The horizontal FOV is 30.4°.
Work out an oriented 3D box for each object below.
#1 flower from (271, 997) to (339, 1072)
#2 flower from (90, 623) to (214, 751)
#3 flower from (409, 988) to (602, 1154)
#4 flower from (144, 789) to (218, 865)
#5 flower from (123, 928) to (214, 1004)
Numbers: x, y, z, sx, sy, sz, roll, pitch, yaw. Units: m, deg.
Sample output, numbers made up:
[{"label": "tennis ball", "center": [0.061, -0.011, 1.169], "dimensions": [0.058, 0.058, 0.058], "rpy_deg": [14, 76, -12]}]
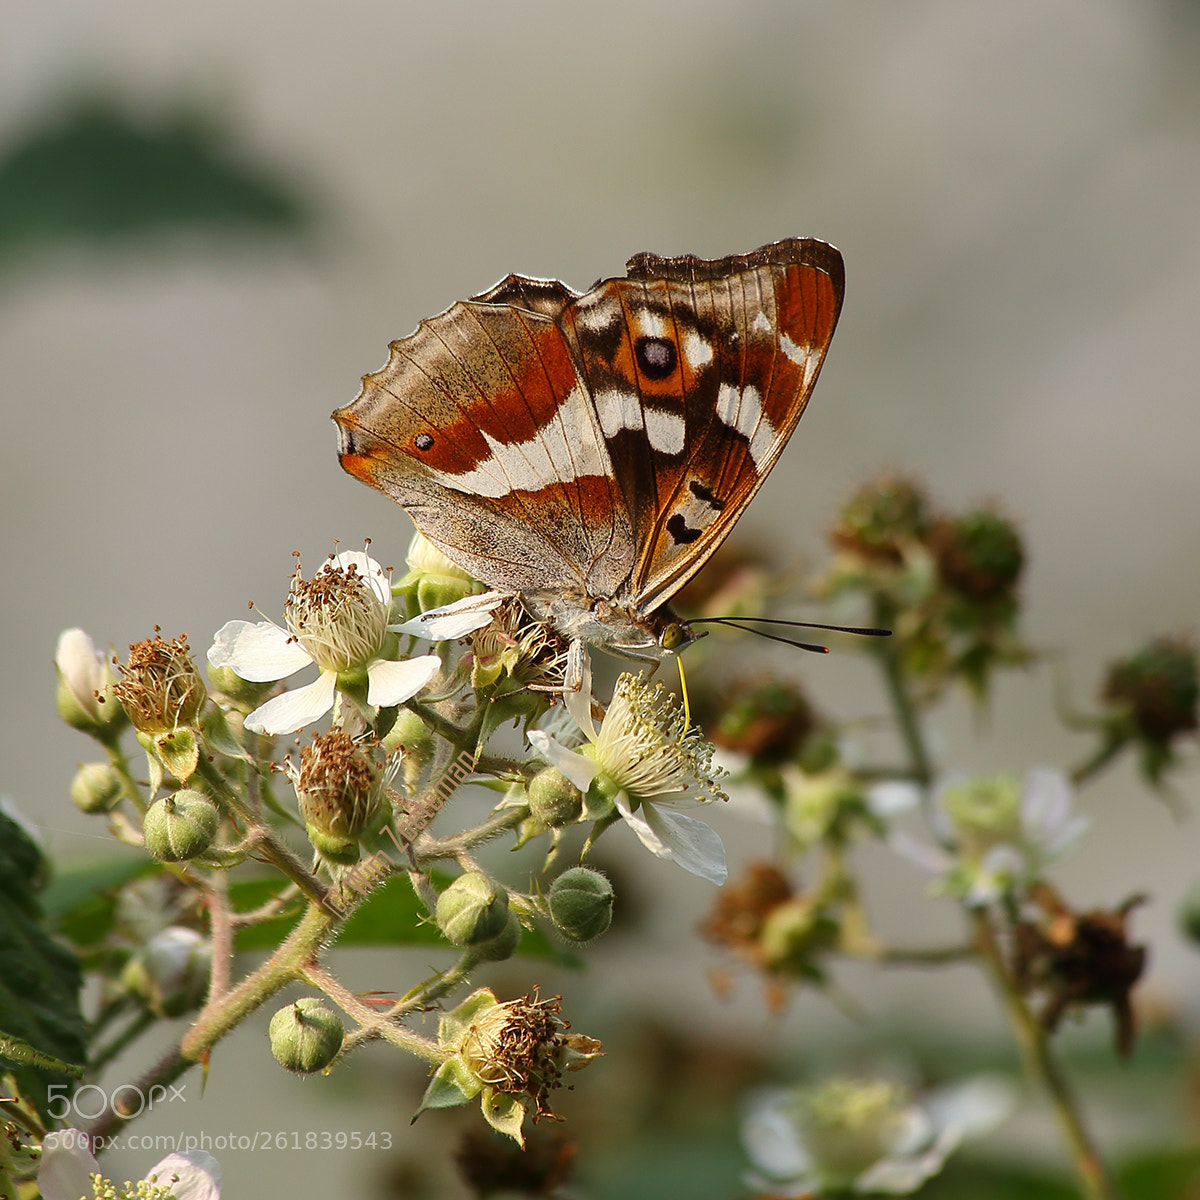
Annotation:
[{"label": "flower", "center": [-0.395, 0.592, 3.047], "dimensions": [0.096, 0.094, 0.094], "rpy_deg": [13, -4, -11]}, {"label": "flower", "center": [-0.624, 0.128, 3.178], "dimensions": [0.115, 0.141, 0.142], "rpy_deg": [-4, 4, 19]}, {"label": "flower", "center": [-0.110, 0.678, 3.098], "dimensions": [0.113, 0.232, 0.233], "rpy_deg": [-29, 25, 51]}, {"label": "flower", "center": [-0.570, 0.310, 3.032], "dimensions": [0.097, 0.094, 0.067], "rpy_deg": [-4, -6, -3]}, {"label": "flower", "center": [-0.684, 0.583, 3.513], "dimensions": [0.144, 0.116, 0.085], "rpy_deg": [-11, -7, -5]}]
